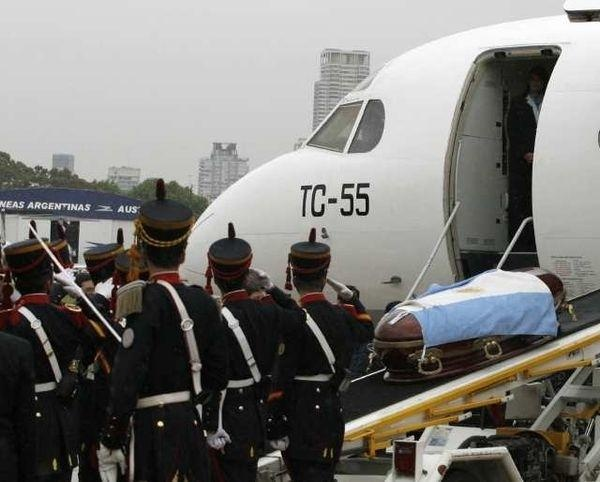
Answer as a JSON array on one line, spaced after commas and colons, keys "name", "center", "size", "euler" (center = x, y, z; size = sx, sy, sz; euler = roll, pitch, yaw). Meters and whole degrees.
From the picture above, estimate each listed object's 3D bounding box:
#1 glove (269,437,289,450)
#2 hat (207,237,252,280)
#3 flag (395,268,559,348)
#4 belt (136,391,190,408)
[{"name": "glove", "center": [-0.166, 1.658, 8.232], "size": [0.120, 0.121, 0.094], "euler": [3, 0, 16]}, {"name": "hat", "center": [-0.550, 0.137, 8.129], "size": [0.347, 0.220, 0.420], "euler": [5, 28, 3]}, {"name": "flag", "center": [1.508, 0.576, 8.483], "size": [1.029, 0.427, 0.679], "euler": [-9, 6, -17]}, {"name": "belt", "center": [-0.959, 1.134, 7.184], "size": [0.378, 0.117, 0.072], "euler": [0, 1, -14]}]
